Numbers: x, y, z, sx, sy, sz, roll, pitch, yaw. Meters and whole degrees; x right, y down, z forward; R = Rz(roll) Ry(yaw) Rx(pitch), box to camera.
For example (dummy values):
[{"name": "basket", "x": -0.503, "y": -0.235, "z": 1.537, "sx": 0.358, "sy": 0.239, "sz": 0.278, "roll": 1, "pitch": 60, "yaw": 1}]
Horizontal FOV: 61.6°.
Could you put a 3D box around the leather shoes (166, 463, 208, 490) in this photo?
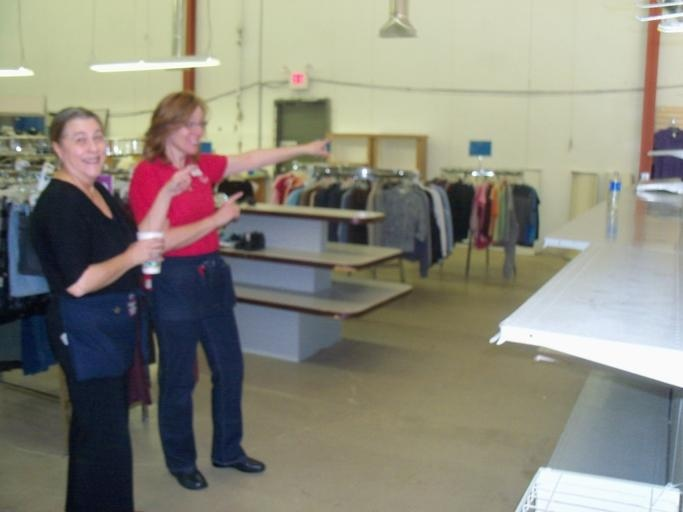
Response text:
[{"name": "leather shoes", "x": -0.786, "y": 1.147, "z": 2.983, "sx": 0.176, "sy": 0.070, "sz": 0.091, "roll": 7, "pitch": 8, "yaw": 33}]

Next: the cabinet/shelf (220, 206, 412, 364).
[{"name": "cabinet/shelf", "x": -0.572, "y": 0.148, "z": 4.997, "sx": 1.903, "sy": 1.263, "sz": 1.094, "roll": 10, "pitch": 10, "yaw": 20}]

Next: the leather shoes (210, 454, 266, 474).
[{"name": "leather shoes", "x": -0.581, "y": 1.136, "z": 3.173, "sx": 0.305, "sy": 0.113, "sz": 0.108, "roll": 1, "pitch": -2, "yaw": 5}]
